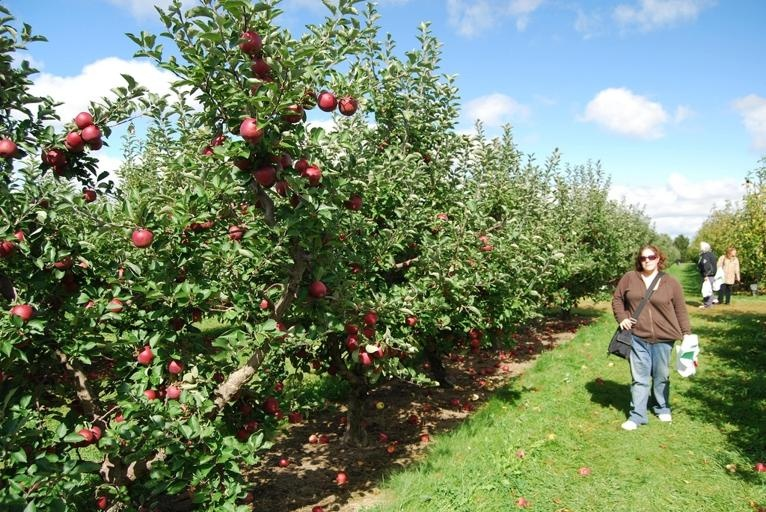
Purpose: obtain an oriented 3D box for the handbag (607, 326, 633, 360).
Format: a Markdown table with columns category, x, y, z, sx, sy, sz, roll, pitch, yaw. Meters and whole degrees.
| category | x | y | z | sx | sy | sz | roll | pitch | yaw |
| --- | --- | --- | --- | --- | --- | --- | --- | --- | --- |
| handbag | 3.878 | 1.413 | 7.780 | 0.224 | 0.518 | 0.432 | 21 | -5 | -40 |
